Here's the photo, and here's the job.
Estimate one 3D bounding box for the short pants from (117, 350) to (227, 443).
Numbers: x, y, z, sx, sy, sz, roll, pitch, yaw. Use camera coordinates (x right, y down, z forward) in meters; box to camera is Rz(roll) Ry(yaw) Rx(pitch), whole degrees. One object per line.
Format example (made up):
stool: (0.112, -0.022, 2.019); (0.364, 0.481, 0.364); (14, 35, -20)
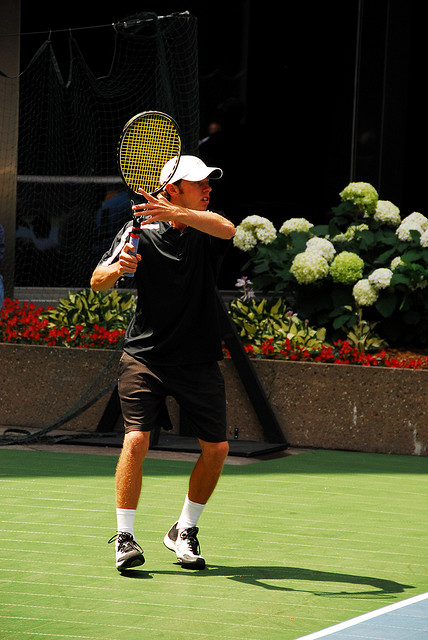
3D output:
short pants: (-0.211, 0.314, 3.044); (0.574, 0.452, 0.280); (9, -8, -24)

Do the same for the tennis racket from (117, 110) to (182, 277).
tennis racket: (-0.276, -0.505, 2.851); (0.304, 0.696, 0.062); (6, 11, -25)
